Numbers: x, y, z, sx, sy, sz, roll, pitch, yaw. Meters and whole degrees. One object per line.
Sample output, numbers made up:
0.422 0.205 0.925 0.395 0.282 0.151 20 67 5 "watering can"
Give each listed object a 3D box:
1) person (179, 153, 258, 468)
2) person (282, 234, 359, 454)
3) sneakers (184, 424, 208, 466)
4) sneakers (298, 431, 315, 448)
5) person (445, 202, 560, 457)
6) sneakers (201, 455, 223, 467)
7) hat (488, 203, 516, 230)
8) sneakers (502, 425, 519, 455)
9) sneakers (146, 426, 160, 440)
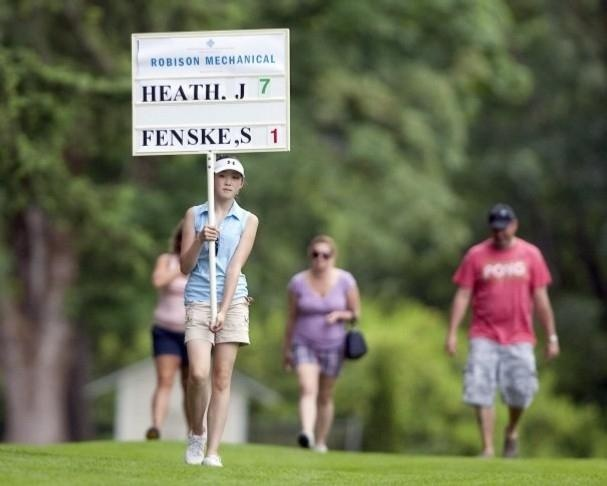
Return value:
-0.992 0.781 18.226 0.852 3.457 0.706 -2 -11 6 "person"
0.217 1.244 19.547 0.910 2.613 0.655 0 -11 -2 "person"
-1.251 2.333 18.292 0.144 0.510 0.185 2 -5 -5 "sneakers"
0.024 2.409 19.349 0.093 0.302 0.135 -6 24 13 "sneakers"
2.410 1.026 19.131 1.286 3.006 0.784 -3 -11 9 "person"
-1.051 2.488 18.228 0.193 0.092 0.120 1 -6 -3 "sneakers"
2.408 -0.308 19.075 0.308 0.349 0.207 -3 -11 12 "hat"
2.540 2.431 19.378 0.144 0.532 0.209 3 3 14 "sneakers"
-2.000 2.510 20.879 0.149 0.165 0.159 -9 -19 28 "sneakers"
